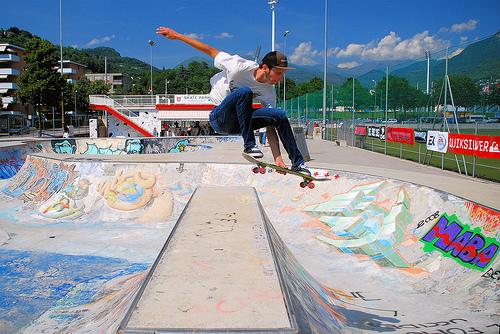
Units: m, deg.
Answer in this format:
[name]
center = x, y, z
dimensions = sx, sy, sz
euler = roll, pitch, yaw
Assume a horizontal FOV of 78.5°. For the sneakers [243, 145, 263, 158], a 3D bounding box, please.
[sneakers]
center = 0.058, -0.256, 5.126
dimensions = 0.150, 0.158, 0.370
euler = 31, -15, -37
